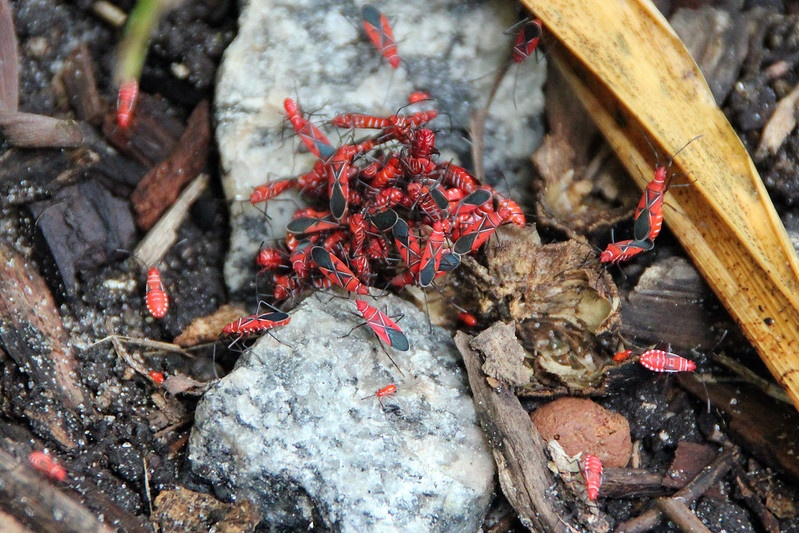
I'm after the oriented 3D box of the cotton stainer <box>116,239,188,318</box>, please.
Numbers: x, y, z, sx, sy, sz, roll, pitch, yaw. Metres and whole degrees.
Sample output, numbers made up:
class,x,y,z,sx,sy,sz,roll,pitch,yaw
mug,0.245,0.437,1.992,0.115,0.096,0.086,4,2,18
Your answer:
class,x,y,z,sx,sy,sz,roll,pitch,yaw
cotton stainer,-1.803,0.116,5.957,0.302,0.120,0.499,-6,63,-18

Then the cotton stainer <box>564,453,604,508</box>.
class,x,y,z,sx,sy,sz,roll,pitch,yaw
cotton stainer,1.284,1.435,5.501,0.177,0.077,0.293,2,88,-24

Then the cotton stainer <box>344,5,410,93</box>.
class,x,y,z,sx,sy,sz,roll,pitch,yaw
cotton stainer,-0.128,-1.638,6.052,0.233,0.152,0.498,-30,102,5

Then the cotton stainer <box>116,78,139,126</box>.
class,x,y,z,sx,sy,sz,roll,pitch,yaw
cotton stainer,-1.982,-1.209,5.985,0.103,0.086,0.407,10,82,-4
